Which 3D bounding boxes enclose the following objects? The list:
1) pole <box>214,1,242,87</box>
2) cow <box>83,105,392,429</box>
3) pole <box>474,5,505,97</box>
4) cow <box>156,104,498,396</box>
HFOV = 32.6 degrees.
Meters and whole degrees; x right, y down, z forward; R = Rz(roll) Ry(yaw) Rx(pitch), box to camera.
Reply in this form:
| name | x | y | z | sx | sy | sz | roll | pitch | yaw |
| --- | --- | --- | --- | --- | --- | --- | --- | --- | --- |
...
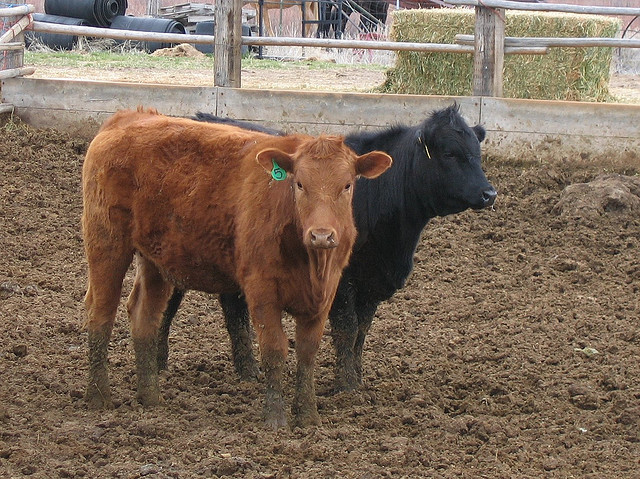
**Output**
| name | x | y | z | sx | sy | sz | roll | pitch | yaw |
| --- | --- | --- | --- | --- | --- | --- | --- | --- | --- |
| pole | -1.222 | -2.584 | 14.496 | 0.376 | 1.090 | 0.312 | -3 | -3 | -7 |
| cow | -0.813 | 0.358 | 10.040 | 3.589 | 2.726 | 1.344 | 5 | 3 | 40 |
| pole | 2.139 | -2.406 | 13.994 | 0.417 | 1.147 | 0.280 | -4 | -3 | 8 |
| cow | 0.038 | 0.217 | 10.290 | 2.855 | 2.181 | 0.937 | 2 | -3 | 19 |
